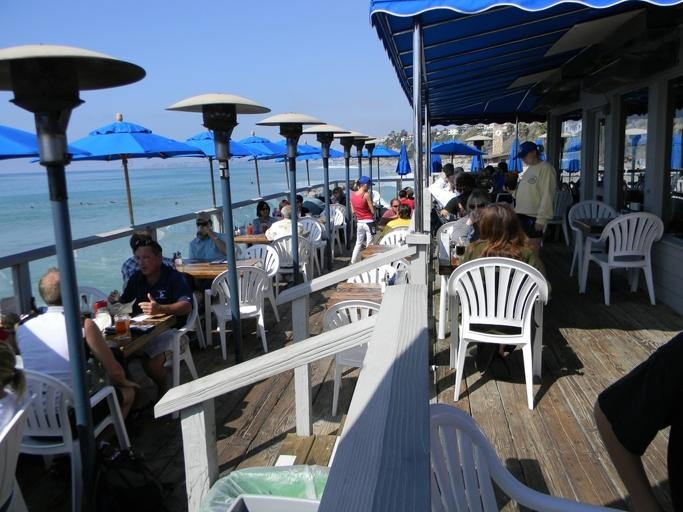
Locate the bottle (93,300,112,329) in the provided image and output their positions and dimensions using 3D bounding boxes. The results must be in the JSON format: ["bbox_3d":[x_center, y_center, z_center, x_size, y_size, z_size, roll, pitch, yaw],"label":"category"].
[{"bbox_3d":[-1.901,0.482,4.019,0.136,0.231,0.132,-17,-4,-1],"label":"bottle"}]

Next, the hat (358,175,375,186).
[{"bbox_3d":[0.442,-1.528,10.340,0.398,0.216,0.592,4,13,18],"label":"hat"}]

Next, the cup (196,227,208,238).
[{"bbox_3d":[-1.841,-0.298,6.685,0.097,0.130,0.112,-1,28,8],"label":"cup"}]

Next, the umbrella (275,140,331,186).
[{"bbox_3d":[-1.590,-2.929,16.100,2.227,1.458,2.286,5,14,16],"label":"umbrella"}]

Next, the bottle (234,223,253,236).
[{"bbox_3d":[-1.672,-0.424,8.610,0.266,0.202,0.270,0,-2,0],"label":"bottle"}]

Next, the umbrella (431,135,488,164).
[{"bbox_3d":[3.838,-3.683,17.387,2.014,0.783,2.132,2,11,16],"label":"umbrella"}]

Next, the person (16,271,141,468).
[{"bbox_3d":[-1.819,0.710,3.621,0.684,1.276,0.664,1,15,25],"label":"person"}]

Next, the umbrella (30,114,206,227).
[{"bbox_3d":[-3.060,-1.315,7.166,1.893,1.613,1.914,-2,6,1],"label":"umbrella"}]

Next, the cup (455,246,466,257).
[{"bbox_3d":[1.086,-0.043,4.722,0.082,0.089,0.080,-1,4,0],"label":"cup"}]
